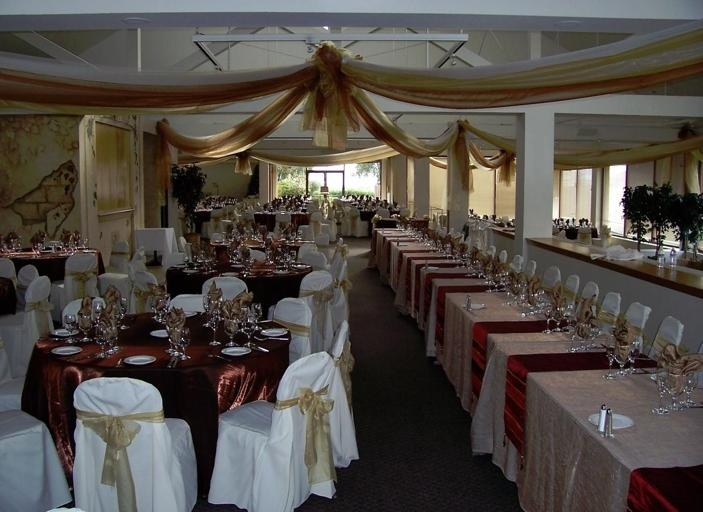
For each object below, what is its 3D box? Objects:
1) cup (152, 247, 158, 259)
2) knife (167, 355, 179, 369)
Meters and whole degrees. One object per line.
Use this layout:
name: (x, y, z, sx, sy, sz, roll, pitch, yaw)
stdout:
cup: (-4.202, -0.074, 10.838, 0.095, 0.131, 0.441, 8, 1, -17)
knife: (-1.162, 0.691, 3.313, 0.033, 0.012, 0.134, 3, 7, -8)
